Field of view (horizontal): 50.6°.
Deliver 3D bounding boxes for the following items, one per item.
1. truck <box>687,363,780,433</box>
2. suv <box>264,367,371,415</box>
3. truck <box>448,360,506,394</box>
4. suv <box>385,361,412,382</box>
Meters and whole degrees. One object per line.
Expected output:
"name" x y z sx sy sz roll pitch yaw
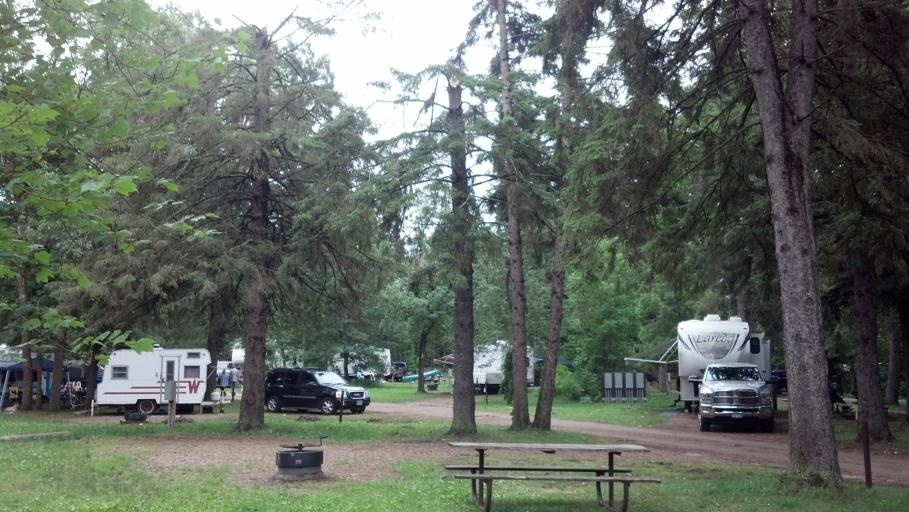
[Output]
"truck" 11.877 5.816 41.242 2.835 2.759 6.070 -1 -4 13
"suv" -6.675 6.533 46.650 4.543 1.862 2.255 -4 -8 22
"truck" 1.120 7.572 59.181 3.596 1.913 1.889 2 -4 -5
"suv" -5.382 10.799 90.292 1.310 2.200 4.660 -1 -15 8
